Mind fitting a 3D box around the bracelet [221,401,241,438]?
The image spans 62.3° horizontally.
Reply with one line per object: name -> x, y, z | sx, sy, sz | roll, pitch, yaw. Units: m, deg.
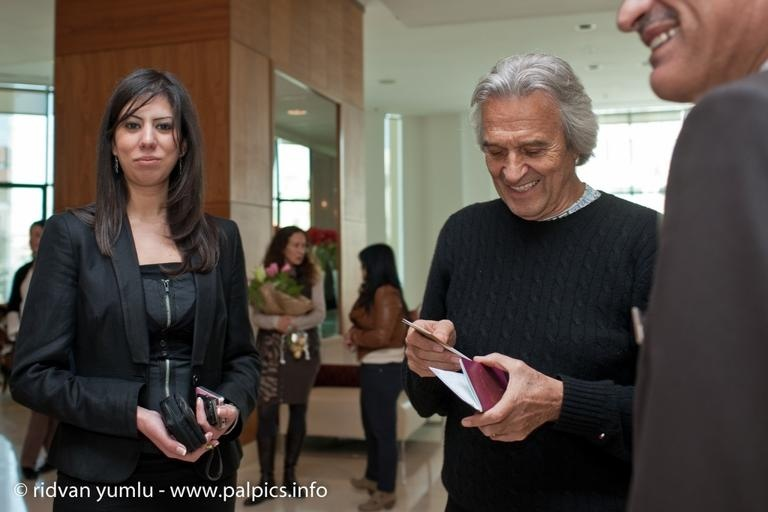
bracelet -> -0.446, 0.463, 1.824 | 0.040, 0.096, 0.068 | 1, 3, -41

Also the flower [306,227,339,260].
flower -> -0.421, -0.086, 4.349 | 0.184, 0.188, 0.057 | 12, -31, -42

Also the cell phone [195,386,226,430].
cell phone -> -0.470, 0.416, 1.755 | 0.026, 0.095, 0.096 | -15, 26, -40

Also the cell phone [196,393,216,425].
cell phone -> -0.476, 0.418, 1.731 | 0.018, 0.068, 0.066 | -5, 7, -34

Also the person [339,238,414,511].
person -> -0.047, 0.735, 3.887 | 0.378, 1.612, 0.306 | -1, 0, 0
